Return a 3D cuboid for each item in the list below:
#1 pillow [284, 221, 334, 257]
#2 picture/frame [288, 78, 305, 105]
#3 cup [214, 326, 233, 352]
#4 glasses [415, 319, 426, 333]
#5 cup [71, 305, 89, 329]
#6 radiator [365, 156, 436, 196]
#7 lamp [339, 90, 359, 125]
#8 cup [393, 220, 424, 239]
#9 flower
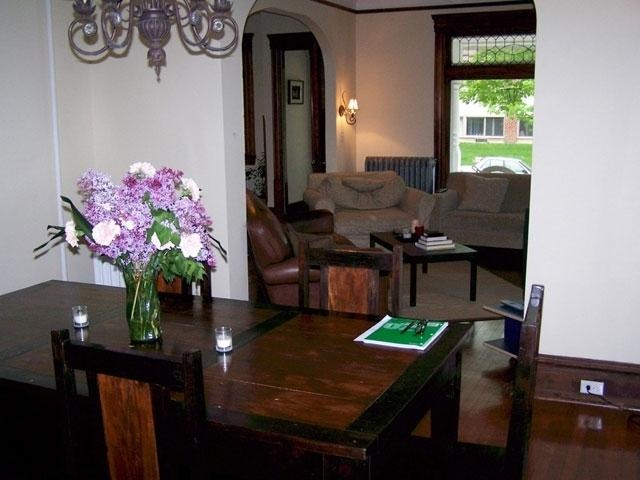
[{"bbox_3d":[-0.088,-0.010,4.752,0.312,0.307,0.343,1,18,0],"label":"pillow"},{"bbox_3d":[-0.435,-2.686,9.521,0.068,0.485,0.544,1,8,21],"label":"picture/frame"},{"bbox_3d":[-0.379,0.388,2.101,0.081,0.098,0.081,0,3,0],"label":"cup"},{"bbox_3d":[0.424,0.357,2.215,0.023,0.022,0.076,0,25,15],"label":"glasses"},{"bbox_3d":[-1.041,0.333,2.341,0.089,0.109,0.089,1,3,0],"label":"cup"},{"bbox_3d":[1.287,-0.977,8.064,0.750,0.682,0.113,1,4,8],"label":"radiator"},{"bbox_3d":[0.502,-2.112,8.494,0.205,0.513,0.715,4,12,19],"label":"lamp"},{"bbox_3d":[0.963,-0.099,5.701,0.292,0.215,0.227,2,9,29],"label":"cup"},{"bbox_3d":[-0.679,-0.094,2.259,0.712,0.729,0.727,13,20,32],"label":"flower"}]
